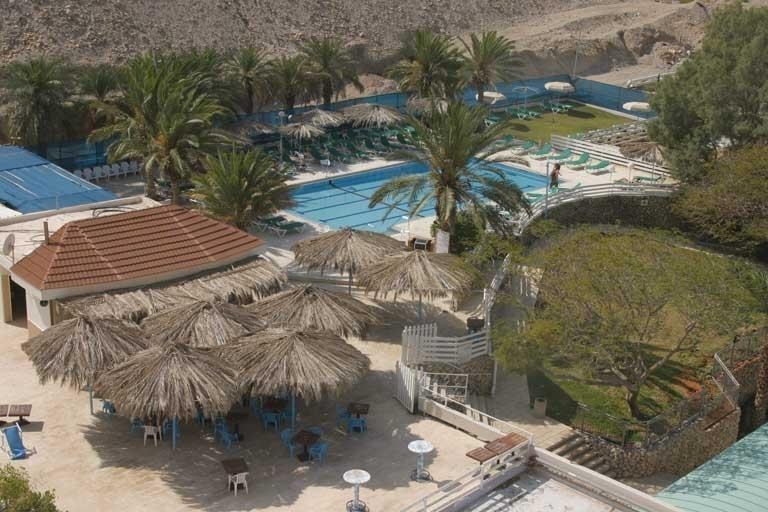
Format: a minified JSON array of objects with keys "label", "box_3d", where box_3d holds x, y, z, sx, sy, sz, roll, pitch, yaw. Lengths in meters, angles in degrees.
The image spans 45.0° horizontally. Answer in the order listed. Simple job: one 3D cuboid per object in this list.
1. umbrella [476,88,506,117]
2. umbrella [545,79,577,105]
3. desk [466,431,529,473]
[{"label":"umbrella","box_3d":[8.637,-13.356,77.509,1.977,0.809,3.398,18,27,29]},{"label":"umbrella","box_3d":[15.790,-14.952,83.444,2.133,1.516,2.555,-7,29,-4]},{"label":"desk","box_3d":[4.748,8.262,38.509,2.644,0.895,0.948,-23,33,-29]}]
